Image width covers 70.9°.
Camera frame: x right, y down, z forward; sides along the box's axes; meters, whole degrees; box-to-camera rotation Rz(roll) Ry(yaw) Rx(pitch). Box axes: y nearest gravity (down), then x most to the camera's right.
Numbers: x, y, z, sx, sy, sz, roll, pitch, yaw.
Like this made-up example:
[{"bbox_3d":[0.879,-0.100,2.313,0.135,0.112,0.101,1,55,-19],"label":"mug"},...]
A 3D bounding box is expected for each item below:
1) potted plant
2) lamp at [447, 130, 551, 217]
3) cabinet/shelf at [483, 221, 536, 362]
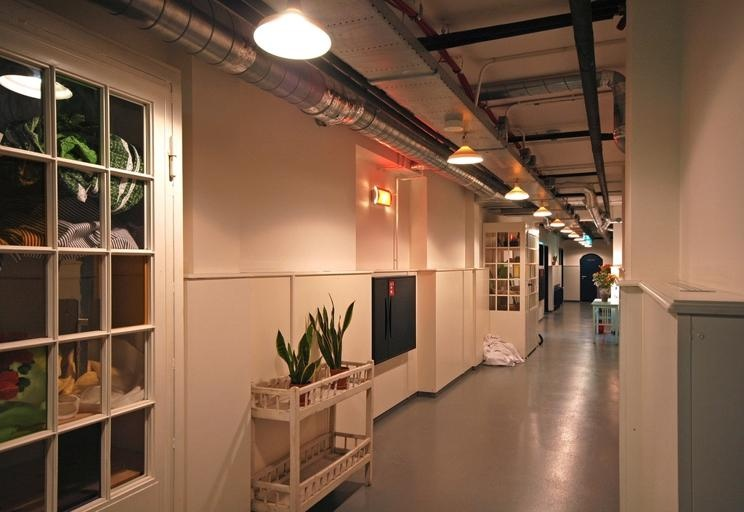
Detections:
[{"bbox_3d":[-0.433,0.743,4.140,0.458,0.751,0.740,1,6,34],"label":"potted plant"},{"bbox_3d":[1.635,-1.068,6.694,2.176,0.349,0.398,21,-22,-37],"label":"lamp"},{"bbox_3d":[2.448,0.653,9.476,0.951,2.992,1.904,-2,-12,19],"label":"cabinet/shelf"}]
